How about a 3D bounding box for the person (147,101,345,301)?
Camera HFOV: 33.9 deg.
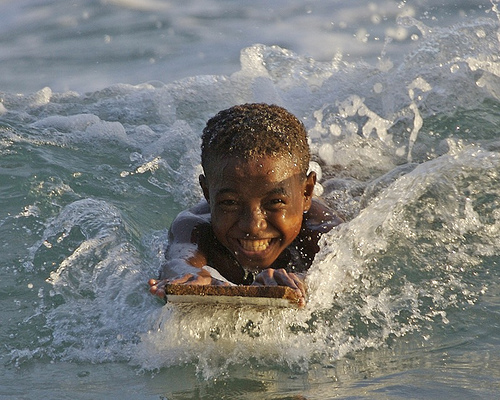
[{"bbox_3d":[0.005,0.046,6.074,1.352,1.111,1.692,-1,25,2],"label":"person"}]
